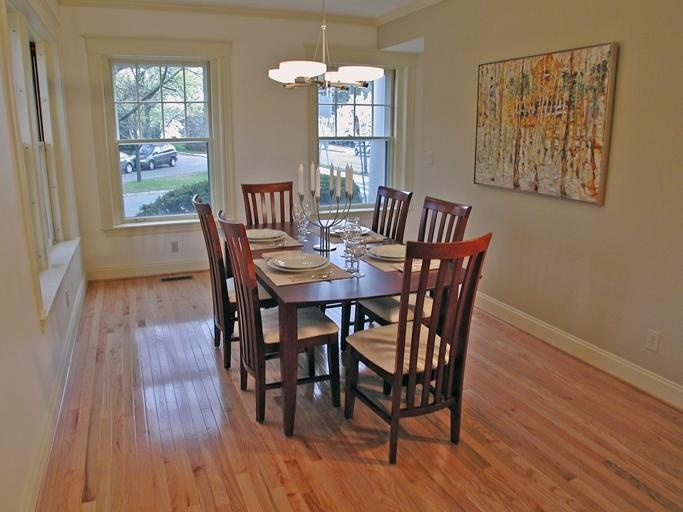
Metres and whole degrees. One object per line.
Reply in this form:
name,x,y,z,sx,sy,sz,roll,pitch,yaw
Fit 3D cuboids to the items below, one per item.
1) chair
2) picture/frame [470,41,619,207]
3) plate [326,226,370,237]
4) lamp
chair,-0.007,0.265,3.336,0.911,1.099,1.870,-6,17,-20
picture/frame,1.573,-1.016,3.763,0.077,1.236,1.204,-11,21,-25
plate,0.036,-0.146,3.244,0.167,0.020,0.175,-6,13,-21
lamp,-0.195,-2.148,4.994,1.070,1.189,1.065,16,23,37
